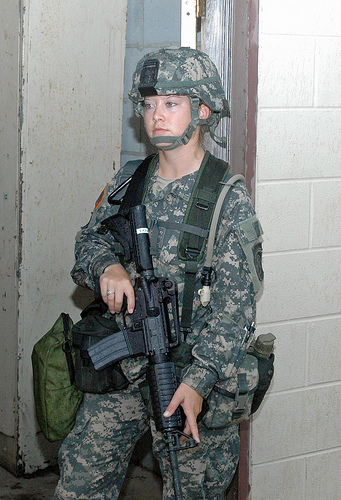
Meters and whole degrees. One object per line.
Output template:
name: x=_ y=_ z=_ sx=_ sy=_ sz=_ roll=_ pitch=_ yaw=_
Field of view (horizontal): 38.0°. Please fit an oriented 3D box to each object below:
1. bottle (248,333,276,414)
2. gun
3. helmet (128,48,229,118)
bottle: x=0.301 y=0.396 z=1.603 sx=0.086 sy=0.229 sz=0.171 roll=8 pitch=-4 yaw=-7
gun: x=-0.026 y=0.228 z=1.315 sx=0.346 sy=0.689 sz=0.201 roll=6 pitch=6 yaw=43
helmet: x=0.020 y=-0.485 z=1.481 sx=0.214 sy=0.176 sz=0.225 roll=5 pitch=13 yaw=28
